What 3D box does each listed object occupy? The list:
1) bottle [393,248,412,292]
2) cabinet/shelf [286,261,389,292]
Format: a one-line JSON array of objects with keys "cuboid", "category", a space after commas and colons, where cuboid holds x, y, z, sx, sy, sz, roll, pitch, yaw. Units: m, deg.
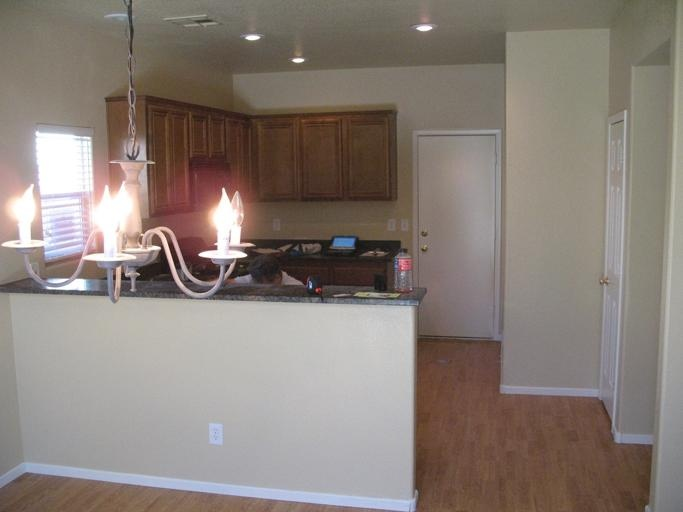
[{"cuboid": [0.420, 0.082, 3.723, 0.113, 0.242, 0.317, 0, 12, 4], "category": "bottle"}, {"cuboid": [-0.047, 0.188, 6.311, 1.231, 0.326, 0.234, 1, 12, 7], "category": "cabinet/shelf"}]
